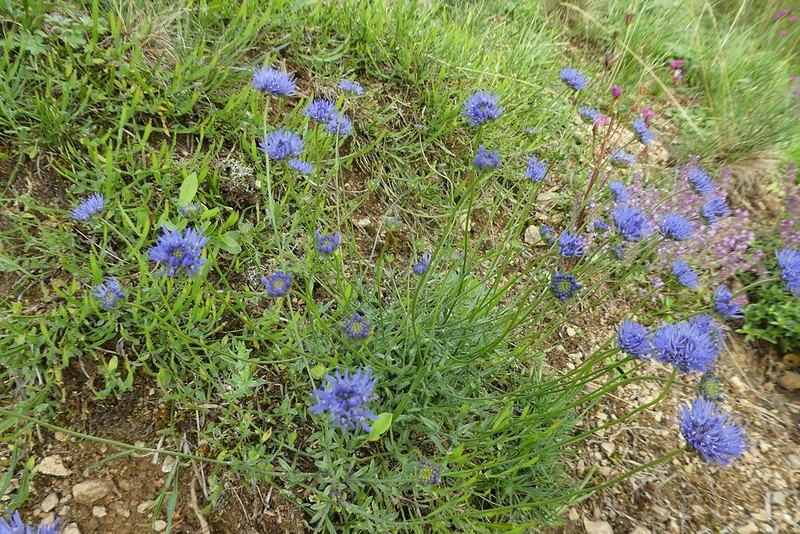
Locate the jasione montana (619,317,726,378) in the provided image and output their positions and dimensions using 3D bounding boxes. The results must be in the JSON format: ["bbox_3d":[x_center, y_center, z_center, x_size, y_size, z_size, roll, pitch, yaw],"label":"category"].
[{"bbox_3d":[1.300,0.335,2.701,0.411,0.227,0.288,-6,17,-44],"label":"jasione montana"}]

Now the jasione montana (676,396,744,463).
[{"bbox_3d":[1.361,0.682,2.583,0.263,0.271,0.143,42,89,24],"label":"jasione montana"}]

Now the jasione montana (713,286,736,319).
[{"bbox_3d":[1.695,0.170,3.036,0.094,0.146,0.149,-15,23,7],"label":"jasione montana"}]
